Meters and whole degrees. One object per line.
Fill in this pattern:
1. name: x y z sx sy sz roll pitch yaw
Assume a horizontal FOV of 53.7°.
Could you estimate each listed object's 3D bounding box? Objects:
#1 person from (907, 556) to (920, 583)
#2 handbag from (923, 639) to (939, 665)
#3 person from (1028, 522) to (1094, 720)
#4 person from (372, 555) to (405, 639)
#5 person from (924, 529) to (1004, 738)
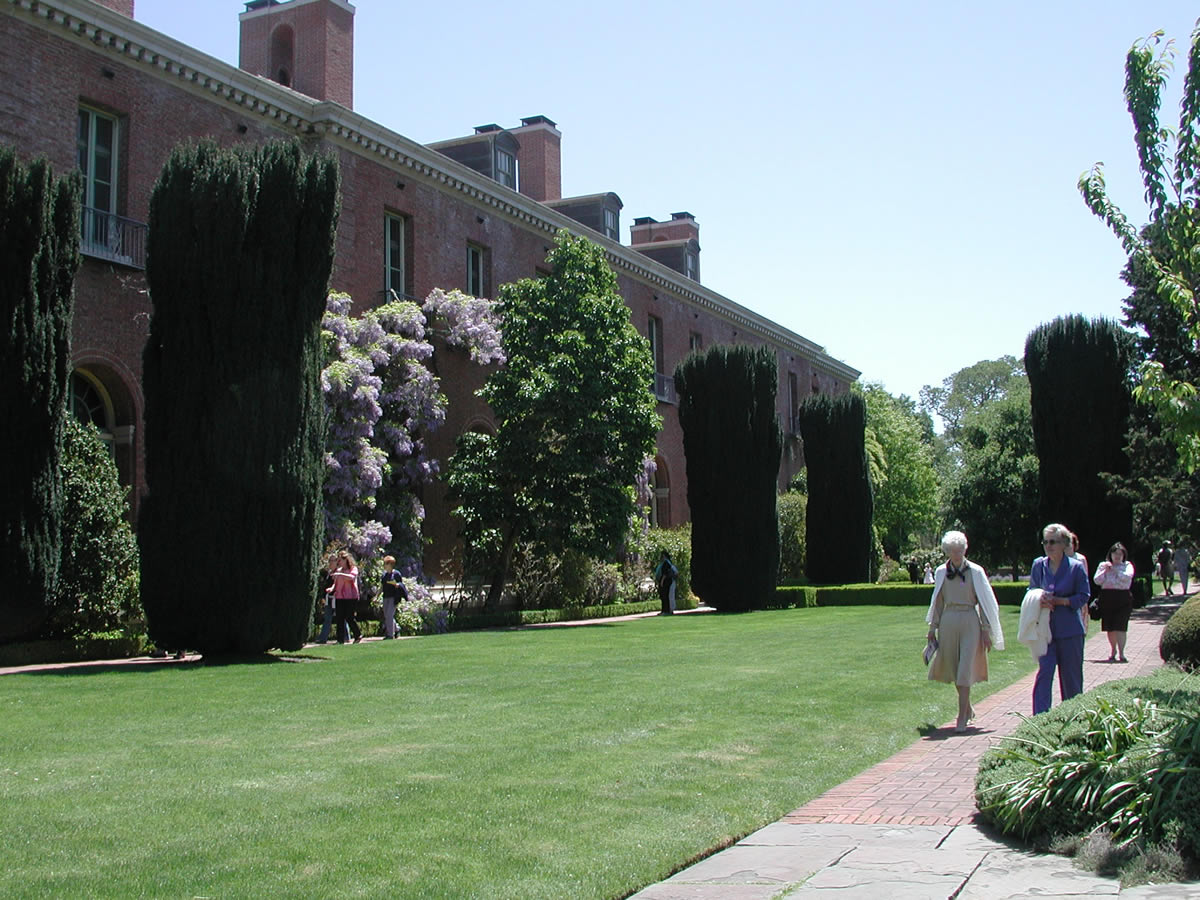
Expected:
1. person: 14.687 5.524 55.531 0.547 0.976 0.957 -2 -7 8
2. handbag: 3.539 2.130 12.646 0.089 0.286 0.182 12 -9 -20
3. person: 4.590 1.635 11.847 0.565 1.849 1.034 -4 -6 22
4. person: -4.028 2.816 23.192 0.457 1.641 1.377 0 -7 -11
5. person: 3.825 1.844 12.519 0.768 1.983 1.119 -3 -6 19
